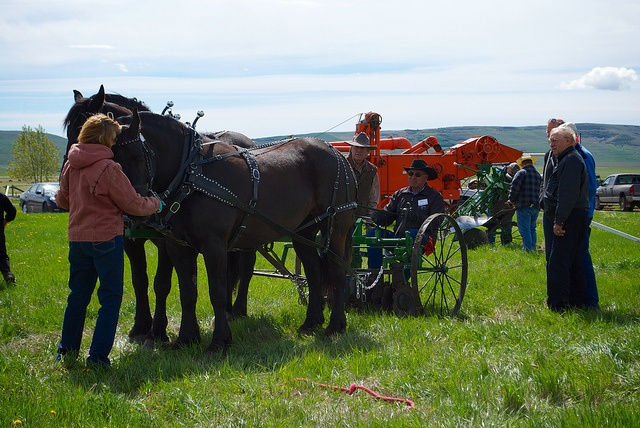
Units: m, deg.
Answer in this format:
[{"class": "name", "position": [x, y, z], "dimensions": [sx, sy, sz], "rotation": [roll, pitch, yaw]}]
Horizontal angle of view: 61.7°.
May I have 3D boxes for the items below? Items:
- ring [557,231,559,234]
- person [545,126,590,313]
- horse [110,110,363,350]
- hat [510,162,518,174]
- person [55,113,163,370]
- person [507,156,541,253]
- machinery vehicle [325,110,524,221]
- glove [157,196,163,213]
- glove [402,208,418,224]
[{"class": "ring", "position": [3.229, 0.236, 7.222], "dimensions": [0.049, 0.029, 0.023], "rotation": [2, 7, 9]}, {"class": "person", "position": [3.396, 0.049, 7.252], "dimensions": [0.596, 2.474, 0.505], "rotation": [2, 6, 10]}, {"class": "horse", "position": [-1.026, 0.283, 6.878], "dimensions": [3.913, 2.758, 1.153], "rotation": [4, -3, -39]}, {"class": "hat", "position": [4.895, -1.149, 13.463], "dimensions": [0.186, 0.268, 0.257], "rotation": [12, 48, 41]}, {"class": "person", "position": [-2.403, 0.263, 5.773], "dimensions": [1.098, 2.657, 0.423], "rotation": [3, 6, 16]}, {"class": "person", "position": [4.693, -0.156, 12.232], "dimensions": [0.667, 1.919, 0.676], "rotation": [2, 6, 9]}, {"class": "machinery vehicle", "position": [2.911, -1.304, 15.630], "dimensions": [5.848, 3.132, 1.562], "rotation": [-1, -6, 2]}, {"class": "glove", "position": [-1.752, -0.102, 5.878], "dimensions": [0.033, 0.135, 0.131], "rotation": [8, -17, -14]}, {"class": "glove", "position": [1.378, -0.002, 8.282], "dimensions": [0.242, 0.259, 0.156], "rotation": [8, 1, -21]}]
